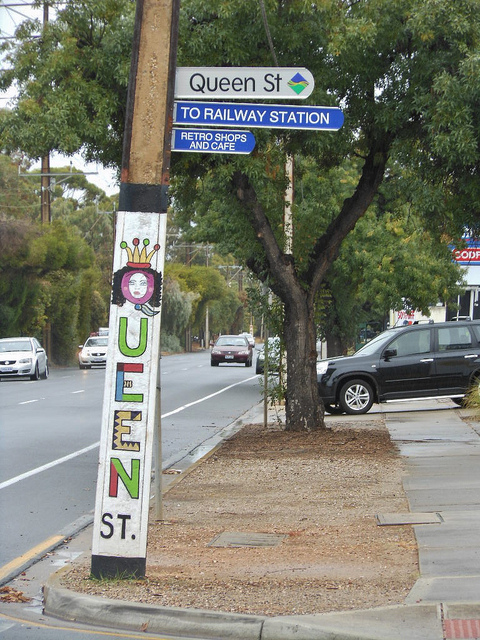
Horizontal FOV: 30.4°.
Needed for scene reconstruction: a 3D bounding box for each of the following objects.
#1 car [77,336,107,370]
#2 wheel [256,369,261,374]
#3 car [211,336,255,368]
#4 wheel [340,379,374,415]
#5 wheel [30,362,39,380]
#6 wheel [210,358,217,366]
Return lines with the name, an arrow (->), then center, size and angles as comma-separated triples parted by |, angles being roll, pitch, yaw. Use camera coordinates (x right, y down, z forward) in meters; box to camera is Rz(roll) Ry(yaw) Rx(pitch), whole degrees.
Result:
car -> -6.478, 1.481, 39.602 | 1.327, 1.199, 3.068 | 0, -3, -3
wheel -> 0.682, 1.887, 32.184 | 0.188, 0.198, 0.135 | 0, -1, -42
car -> -0.385, 1.546, 42.493 | 1.926, 1.335, 2.857 | 0, -1, 0
wheel -> 2.193, 1.418, 16.657 | 0.565, 0.646, 0.214 | -2, 3, -13
wheel -> -6.945, 1.704, 29.873 | 0.183, 0.644, 0.598 | 2, 0, 1
wheel -> -1.257, 2.059, 42.052 | 0.221, 0.289, 0.239 | 0, -3, 0
